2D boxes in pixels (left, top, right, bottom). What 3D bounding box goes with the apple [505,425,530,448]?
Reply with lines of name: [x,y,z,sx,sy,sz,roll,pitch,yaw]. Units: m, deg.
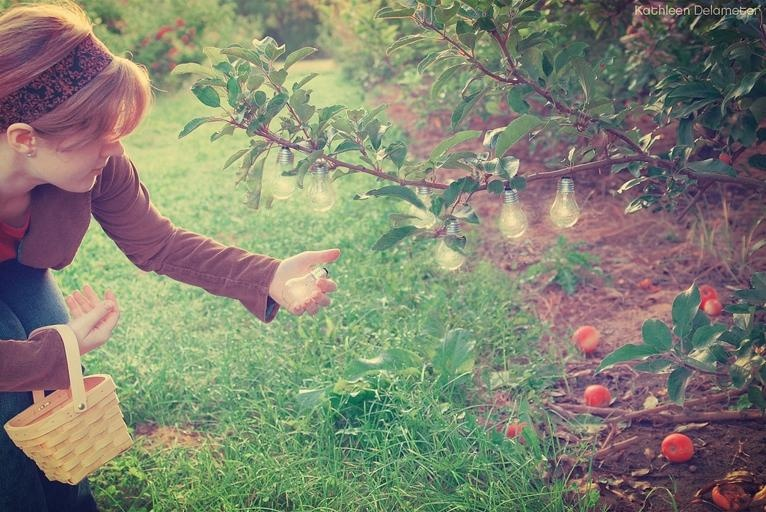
apple: [0.724,0.961,3.708,0.106,0.132,0.052,6,13,11]

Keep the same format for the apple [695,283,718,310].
apple: [1.919,0.247,4.064,0.113,0.110,0.133,-32,-27,11]

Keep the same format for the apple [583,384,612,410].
apple: [1.225,0.799,3.954,0.123,0.124,0.127,-22,16,40]

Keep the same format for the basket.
basket: [-1.509,0.720,3.357,0.574,0.785,0.252,7,-2,-17]

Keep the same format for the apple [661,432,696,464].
apple: [1.524,0.989,3.564,0.145,0.146,0.154,19,-17,-40]

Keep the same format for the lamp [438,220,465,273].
lamp: [0.353,-0.048,3.567,0.156,0.150,0.325,21,-23,18]

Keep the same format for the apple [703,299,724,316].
apple: [1.990,0.313,4.138,0.104,0.114,0.104,-1,1,-13]
